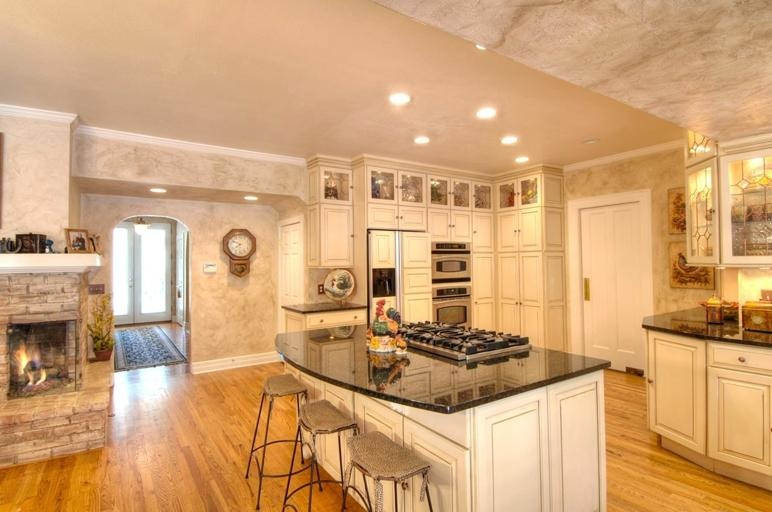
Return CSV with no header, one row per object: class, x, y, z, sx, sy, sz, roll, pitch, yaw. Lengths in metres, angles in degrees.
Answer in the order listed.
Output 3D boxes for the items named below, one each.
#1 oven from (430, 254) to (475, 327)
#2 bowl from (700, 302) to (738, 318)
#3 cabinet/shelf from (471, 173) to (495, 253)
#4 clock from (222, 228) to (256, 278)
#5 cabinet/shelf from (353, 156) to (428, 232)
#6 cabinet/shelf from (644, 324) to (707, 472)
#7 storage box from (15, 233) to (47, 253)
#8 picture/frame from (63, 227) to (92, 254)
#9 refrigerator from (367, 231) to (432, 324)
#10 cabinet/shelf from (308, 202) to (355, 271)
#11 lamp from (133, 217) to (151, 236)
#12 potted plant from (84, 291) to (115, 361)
oven,0.913,0.467,7.117,0.887,1.072,0.330,-12,17,-39
bowl,3.104,0.511,4.799,0.208,0.172,0.235,3,-6,-24
cabinet/shelf,1.404,-0.546,7.528,0.582,1.000,0.258,-12,17,-38
clock,-2.101,-0.056,7.366,0.465,0.647,0.214,-6,14,-18
cabinet/shelf,0.003,-0.799,6.705,1.032,0.803,0.388,2,-4,-33
cabinet/shelf,2.607,1.180,4.613,0.172,0.959,0.631,-8,15,-27
storage box,-3.497,-0.121,5.056,0.250,0.185,0.131,-6,14,-23
picture/frame,-3.247,-0.154,5.382,0.050,0.333,0.312,-26,-17,23
refrigerator,0.190,0.255,6.652,1.068,1.221,0.452,-9,16,-30
cabinet/shelf,-0.714,-0.260,6.611,0.595,0.829,0.416,-3,14,-9
lamp,-4.732,-0.554,9.901,0.414,0.381,0.393,1,1,-15
potted plant,-3.648,0.887,6.580,0.295,0.756,0.635,-8,14,-24
